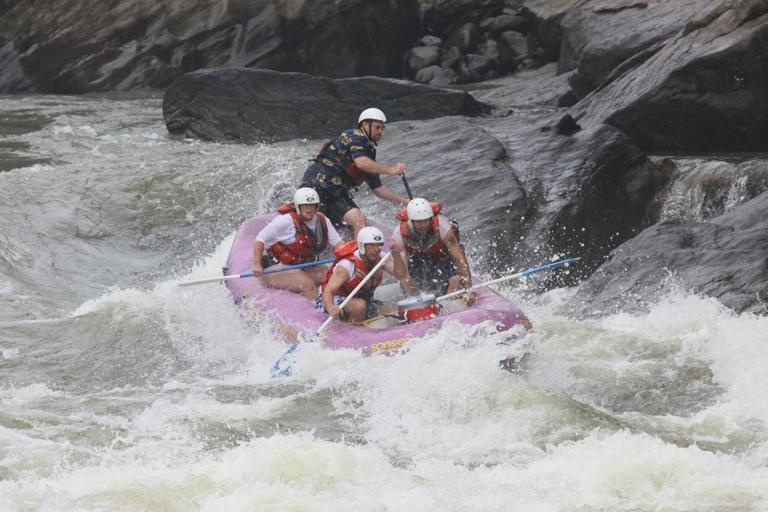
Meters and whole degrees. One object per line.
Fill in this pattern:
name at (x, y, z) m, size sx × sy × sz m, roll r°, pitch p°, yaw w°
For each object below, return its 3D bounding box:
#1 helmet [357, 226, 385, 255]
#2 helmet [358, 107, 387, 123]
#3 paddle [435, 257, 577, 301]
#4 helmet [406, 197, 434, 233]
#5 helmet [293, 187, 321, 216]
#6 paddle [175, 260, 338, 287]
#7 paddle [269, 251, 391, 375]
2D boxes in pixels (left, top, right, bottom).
helmet at (-0.289, -0.246, 19.189) m, size 0.371 × 0.353 × 0.469 m, roll 3°, pitch -22°, yaw -30°
helmet at (-0.276, -2.420, 20.919) m, size 0.573 × 0.317 × 0.444 m, roll 3°, pitch 8°, yaw 33°
paddle at (2.044, 0.402, 20.119) m, size 2.207 × 0.079 × 0.223 m, roll -15°, pitch 47°, yaw 10°
helmet at (0.537, -0.666, 19.229) m, size 0.432 × 0.461 × 0.515 m, roll -7°, pitch 18°, yaw -11°
helmet at (-1.281, -0.961, 19.821) m, size 0.319 × 0.281 × 0.397 m, roll -2°, pitch -5°, yaw -15°
paddle at (-2.008, 0.292, 20.119) m, size 2.265 × 0.127 × 0.117 m, roll -8°, pitch 17°, yaw -1°
paddle at (-0.855, 0.951, 19.068) m, size 2.821 × 0.110 × 0.522 m, roll -40°, pitch 70°, yaw -15°
